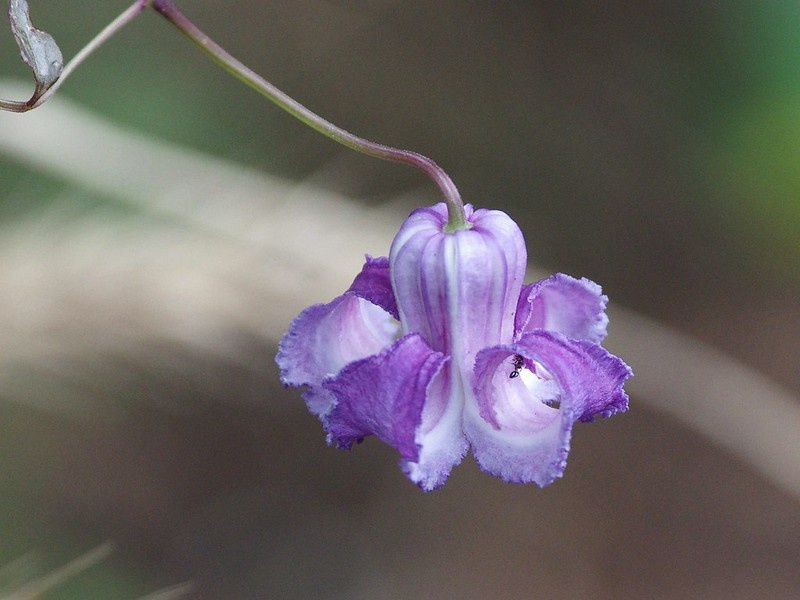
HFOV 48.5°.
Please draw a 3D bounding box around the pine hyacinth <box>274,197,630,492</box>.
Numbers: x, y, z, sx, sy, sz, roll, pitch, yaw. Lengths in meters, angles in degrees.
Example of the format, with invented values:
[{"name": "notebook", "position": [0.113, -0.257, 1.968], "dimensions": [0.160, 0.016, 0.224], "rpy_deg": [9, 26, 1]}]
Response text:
[{"name": "pine hyacinth", "position": [0.075, -0.022, 0.971], "dimensions": [0.318, 0.220, 0.341], "rpy_deg": [13, 28, 38]}]
